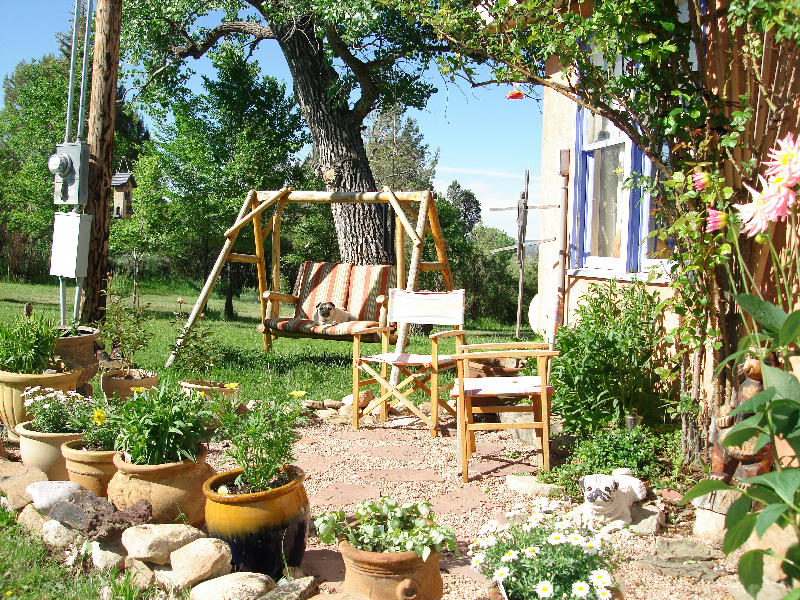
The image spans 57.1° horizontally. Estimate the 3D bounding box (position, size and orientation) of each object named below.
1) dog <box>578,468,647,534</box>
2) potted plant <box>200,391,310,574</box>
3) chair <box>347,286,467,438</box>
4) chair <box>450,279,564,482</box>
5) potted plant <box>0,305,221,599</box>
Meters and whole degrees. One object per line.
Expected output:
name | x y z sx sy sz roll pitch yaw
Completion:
dog | 1.183 1.094 4.151 0.263 0.236 0.469 -13 -9 28
potted plant | -0.751 0.979 3.863 0.477 0.835 0.487 -7 12 -10
chair | 0.071 0.504 6.223 0.786 1.259 0.749 1 0 31
chair | 0.718 0.528 5.205 0.855 1.302 0.898 0 4 30
potted plant | -1.672 0.962 4.253 0.935 0.930 1.941 3 -3 -29
